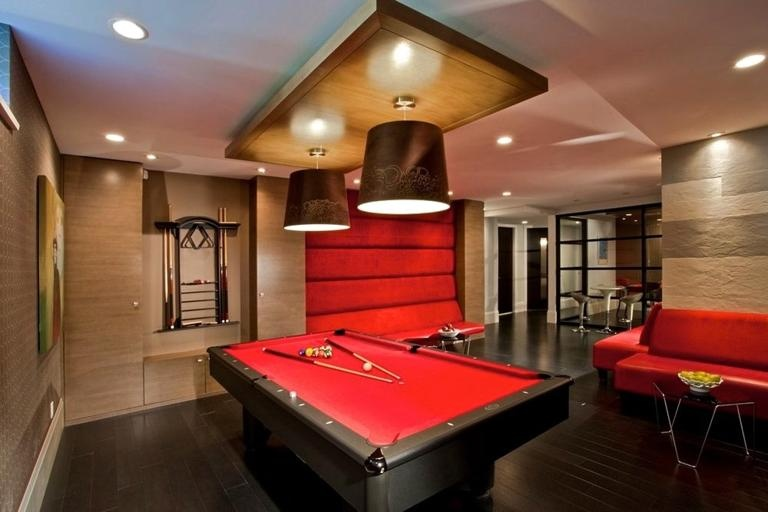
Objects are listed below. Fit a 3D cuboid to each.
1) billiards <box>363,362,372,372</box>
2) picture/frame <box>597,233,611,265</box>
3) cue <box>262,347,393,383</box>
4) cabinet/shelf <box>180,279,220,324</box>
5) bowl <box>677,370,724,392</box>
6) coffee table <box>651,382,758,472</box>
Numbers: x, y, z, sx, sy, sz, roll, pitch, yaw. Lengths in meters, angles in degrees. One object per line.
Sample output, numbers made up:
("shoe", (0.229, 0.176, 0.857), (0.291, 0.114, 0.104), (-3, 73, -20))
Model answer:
("billiards", (-0.153, 0.992, 4.295), (0.076, 0.036, 0.068), (3, 7, 14))
("picture/frame", (4.423, -0.102, 9.668), (0.126, 0.529, 0.276), (-14, 17, -31))
("cue", (-0.580, 1.013, 4.479), (1.597, 0.054, 0.062), (4, 30, 35))
("cabinet/shelf", (-2.469, 0.620, 6.398), (0.537, 0.587, 0.224), (-13, 17, -34))
("bowl", (3.019, 1.183, 4.575), (0.303, 0.084, 0.265), (0, -3, -6))
("coffee table", (3.157, 1.583, 4.813), (0.962, 0.533, 0.951), (-3, 5, -14))
